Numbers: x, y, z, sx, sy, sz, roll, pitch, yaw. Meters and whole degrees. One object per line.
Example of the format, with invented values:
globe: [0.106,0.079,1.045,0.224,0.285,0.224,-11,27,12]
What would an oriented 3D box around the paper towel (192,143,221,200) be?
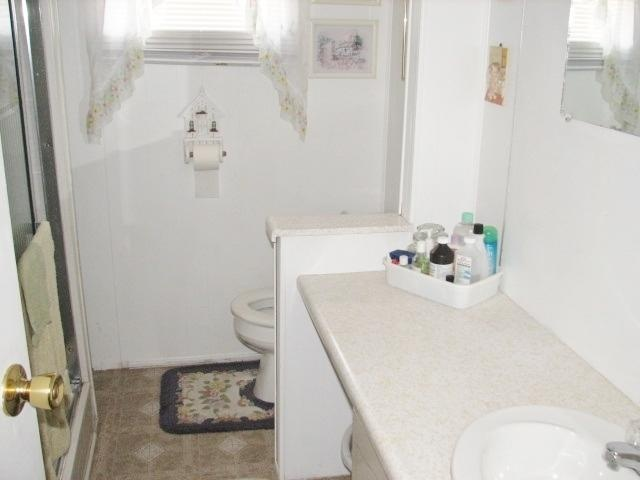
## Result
paper towel: [-0.533,-0.332,2.499,0.140,0.250,0.096,-5,19,-10]

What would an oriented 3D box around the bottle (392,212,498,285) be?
bottle: [0.413,0.012,1.652,0.167,0.181,0.217,-10,23,-28]

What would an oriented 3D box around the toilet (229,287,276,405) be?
toilet: [-0.290,0.520,2.497,0.266,0.515,0.275,-1,17,-8]

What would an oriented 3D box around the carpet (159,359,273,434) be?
carpet: [-0.513,0.763,2.553,0.309,0.004,0.301,-1,17,1]

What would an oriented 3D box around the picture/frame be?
picture/frame: [0.095,-0.929,2.495,0.353,0.280,0.041,-2,11,-13]
